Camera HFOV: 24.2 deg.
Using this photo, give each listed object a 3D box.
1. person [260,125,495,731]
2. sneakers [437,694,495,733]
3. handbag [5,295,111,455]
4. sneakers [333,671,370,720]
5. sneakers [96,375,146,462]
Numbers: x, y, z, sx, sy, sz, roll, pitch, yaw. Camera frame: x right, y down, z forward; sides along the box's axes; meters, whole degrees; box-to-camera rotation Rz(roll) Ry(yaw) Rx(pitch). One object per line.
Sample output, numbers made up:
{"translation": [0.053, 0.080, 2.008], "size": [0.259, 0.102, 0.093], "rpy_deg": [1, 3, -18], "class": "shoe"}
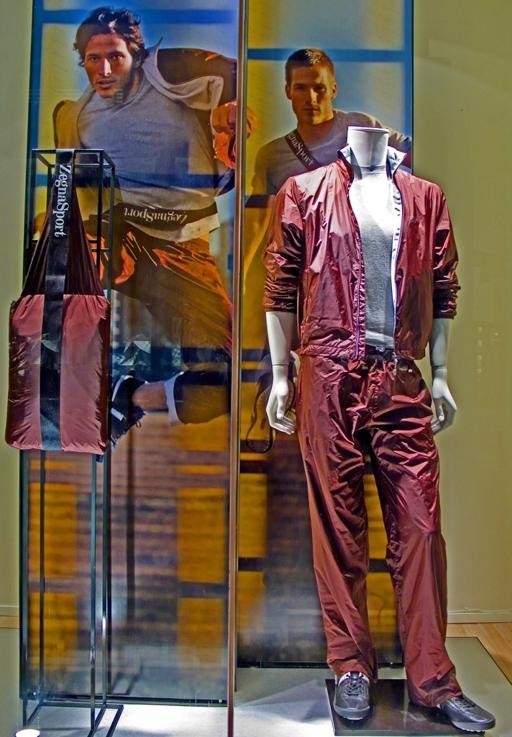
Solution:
{"translation": [0.299, 0.117, 2.880], "size": [0.579, 1.361, 0.454], "rpy_deg": [4, 11, 15], "class": "person"}
{"translation": [0.492, 0.805, 2.758], "size": [0.111, 0.045, 0.059], "rpy_deg": [1, 8, 45], "class": "sneakers"}
{"translation": [-0.458, 0.012, 2.759], "size": [0.303, 0.485, 0.177], "rpy_deg": [1, -2, 0], "class": "handbag"}
{"translation": [0.236, 0.785, 2.867], "size": [0.078, 0.099, 0.221], "rpy_deg": [1, -2, 8], "class": "sneakers"}
{"translation": [-0.320, 0.117, 2.874], "size": [0.076, 0.205, 0.066], "rpy_deg": [18, -1, 3], "class": "sneakers"}
